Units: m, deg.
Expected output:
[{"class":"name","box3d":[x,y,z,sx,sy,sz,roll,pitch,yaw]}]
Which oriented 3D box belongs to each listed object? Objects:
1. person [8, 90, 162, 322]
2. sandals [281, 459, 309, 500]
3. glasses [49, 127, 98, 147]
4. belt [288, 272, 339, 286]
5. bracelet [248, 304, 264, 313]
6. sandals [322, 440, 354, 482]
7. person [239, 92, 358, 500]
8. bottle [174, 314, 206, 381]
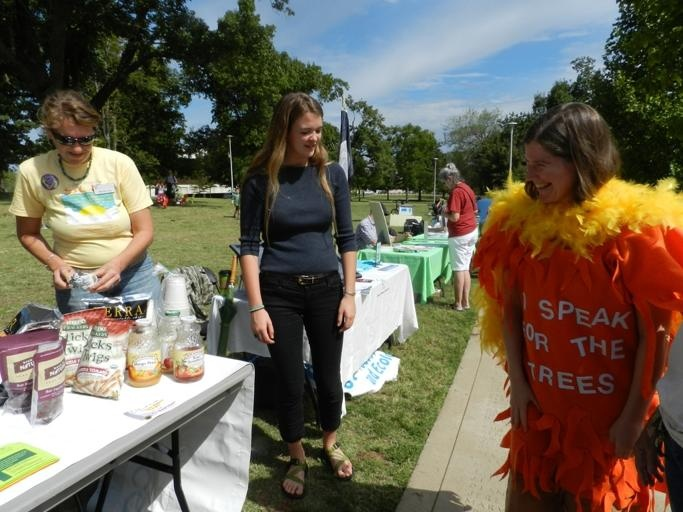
[{"class":"person","box3d":[-1.468,-0.252,2.456,0.733,1.275,0.667,-2,11,-16]},{"class":"sandals","box3d":[-0.285,1.310,2.697,0.135,0.104,0.391,-2,3,1]},{"class":"glasses","box3d":[-1.405,-0.630,2.321,0.203,0.084,0.082,-6,13,-33]},{"class":"belt","box3d":[-0.135,0.116,2.435,0.270,0.063,0.043,-4,12,-27]},{"class":"bracelet","box3d":[-0.449,0.274,2.371,0.079,0.055,0.047,0,11,-8]},{"class":"sandals","box3d":[-0.002,1.286,2.863,0.156,0.092,0.412,-12,9,-14]},{"class":"person","box3d":[-0.243,0.233,2.590,0.684,2.220,0.600,-2,8,-14]},{"class":"bottle","box3d":[-0.680,0.411,1.985,0.155,0.282,0.154,0,3,0]}]
